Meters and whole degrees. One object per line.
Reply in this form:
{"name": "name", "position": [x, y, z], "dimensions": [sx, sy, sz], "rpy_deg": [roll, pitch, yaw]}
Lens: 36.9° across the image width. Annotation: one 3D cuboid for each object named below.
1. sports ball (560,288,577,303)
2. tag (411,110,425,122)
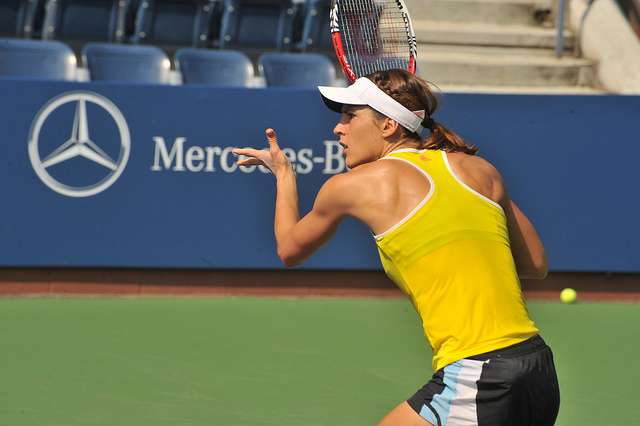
{"name": "sports ball", "position": [2.963, 0.971, 11.497], "dimensions": [0.152, 0.162, 0.182], "rpy_deg": [-6, 6, 37]}
{"name": "tag", "position": [0.776, -0.768, 7.689], "dimensions": [0.077, 0.085, 0.025], "rpy_deg": [4, 4, -14]}
